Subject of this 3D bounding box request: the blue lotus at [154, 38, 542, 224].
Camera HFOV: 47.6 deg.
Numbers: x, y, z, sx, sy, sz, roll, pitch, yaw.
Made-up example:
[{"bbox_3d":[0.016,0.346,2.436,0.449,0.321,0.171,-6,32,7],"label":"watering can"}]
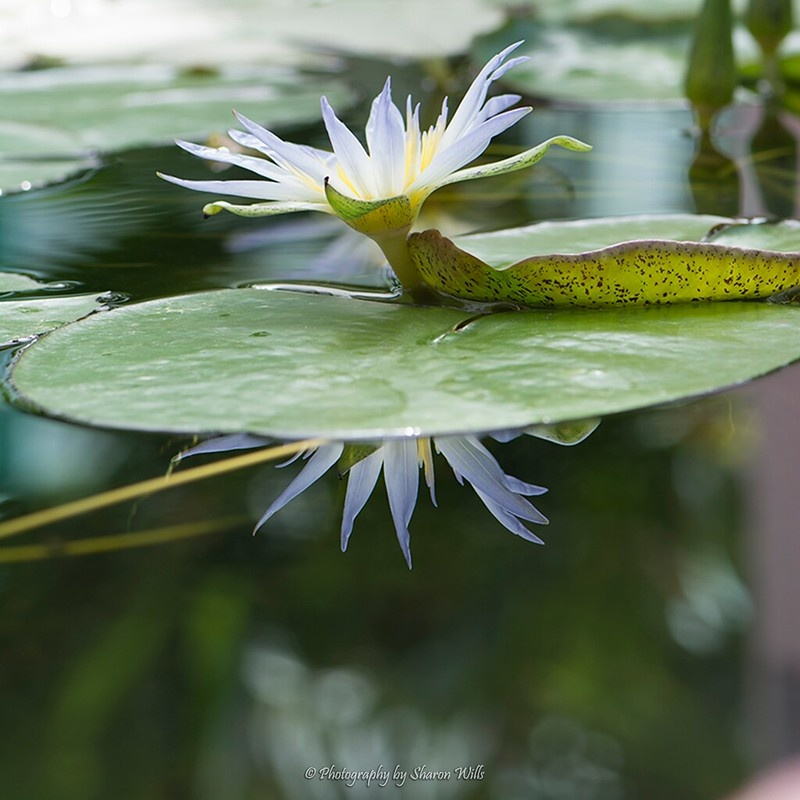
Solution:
[{"bbox_3d":[-0.035,-0.183,0.698,0.270,0.159,0.170,-10,41,-8],"label":"blue lotus"}]
